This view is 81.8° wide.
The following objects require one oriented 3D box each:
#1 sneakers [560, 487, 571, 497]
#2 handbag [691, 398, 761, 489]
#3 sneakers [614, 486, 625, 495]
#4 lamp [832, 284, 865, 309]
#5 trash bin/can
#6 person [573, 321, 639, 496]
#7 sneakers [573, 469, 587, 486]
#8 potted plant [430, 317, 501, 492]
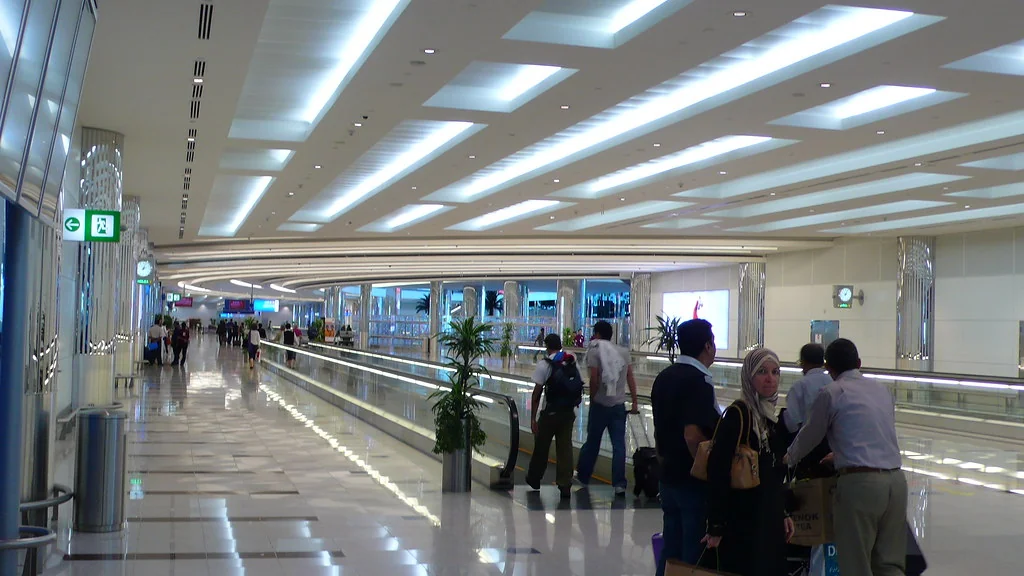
[{"bbox_3d":[0.759,2.953,8.551,0.134,0.124,0.133,-2,3,-7],"label":"sneakers"},{"bbox_3d":[1.729,1.291,4.791,0.524,0.651,0.142,1,-4,15],"label":"handbag"},{"bbox_3d":[1.571,2.961,8.674,0.150,0.055,0.197,-2,5,3],"label":"sneakers"},{"bbox_3d":[13.182,0.327,23.241,1.017,0.857,0.439,1,-4,18],"label":"lamp"},{"bbox_3d":[-4.930,2.200,7.077,0.553,1.387,0.307,4,-4,-27],"label":"trash bin/can"},{"bbox_3d":[1.387,1.762,8.711,0.807,2.530,0.666,3,-4,-16],"label":"person"},{"bbox_3d":[1.032,2.939,9.165,0.154,0.155,0.394,0,2,-6],"label":"sneakers"},{"bbox_3d":[-0.816,1.776,9.189,0.831,2.616,0.620,3,-4,-11],"label":"potted plant"}]
